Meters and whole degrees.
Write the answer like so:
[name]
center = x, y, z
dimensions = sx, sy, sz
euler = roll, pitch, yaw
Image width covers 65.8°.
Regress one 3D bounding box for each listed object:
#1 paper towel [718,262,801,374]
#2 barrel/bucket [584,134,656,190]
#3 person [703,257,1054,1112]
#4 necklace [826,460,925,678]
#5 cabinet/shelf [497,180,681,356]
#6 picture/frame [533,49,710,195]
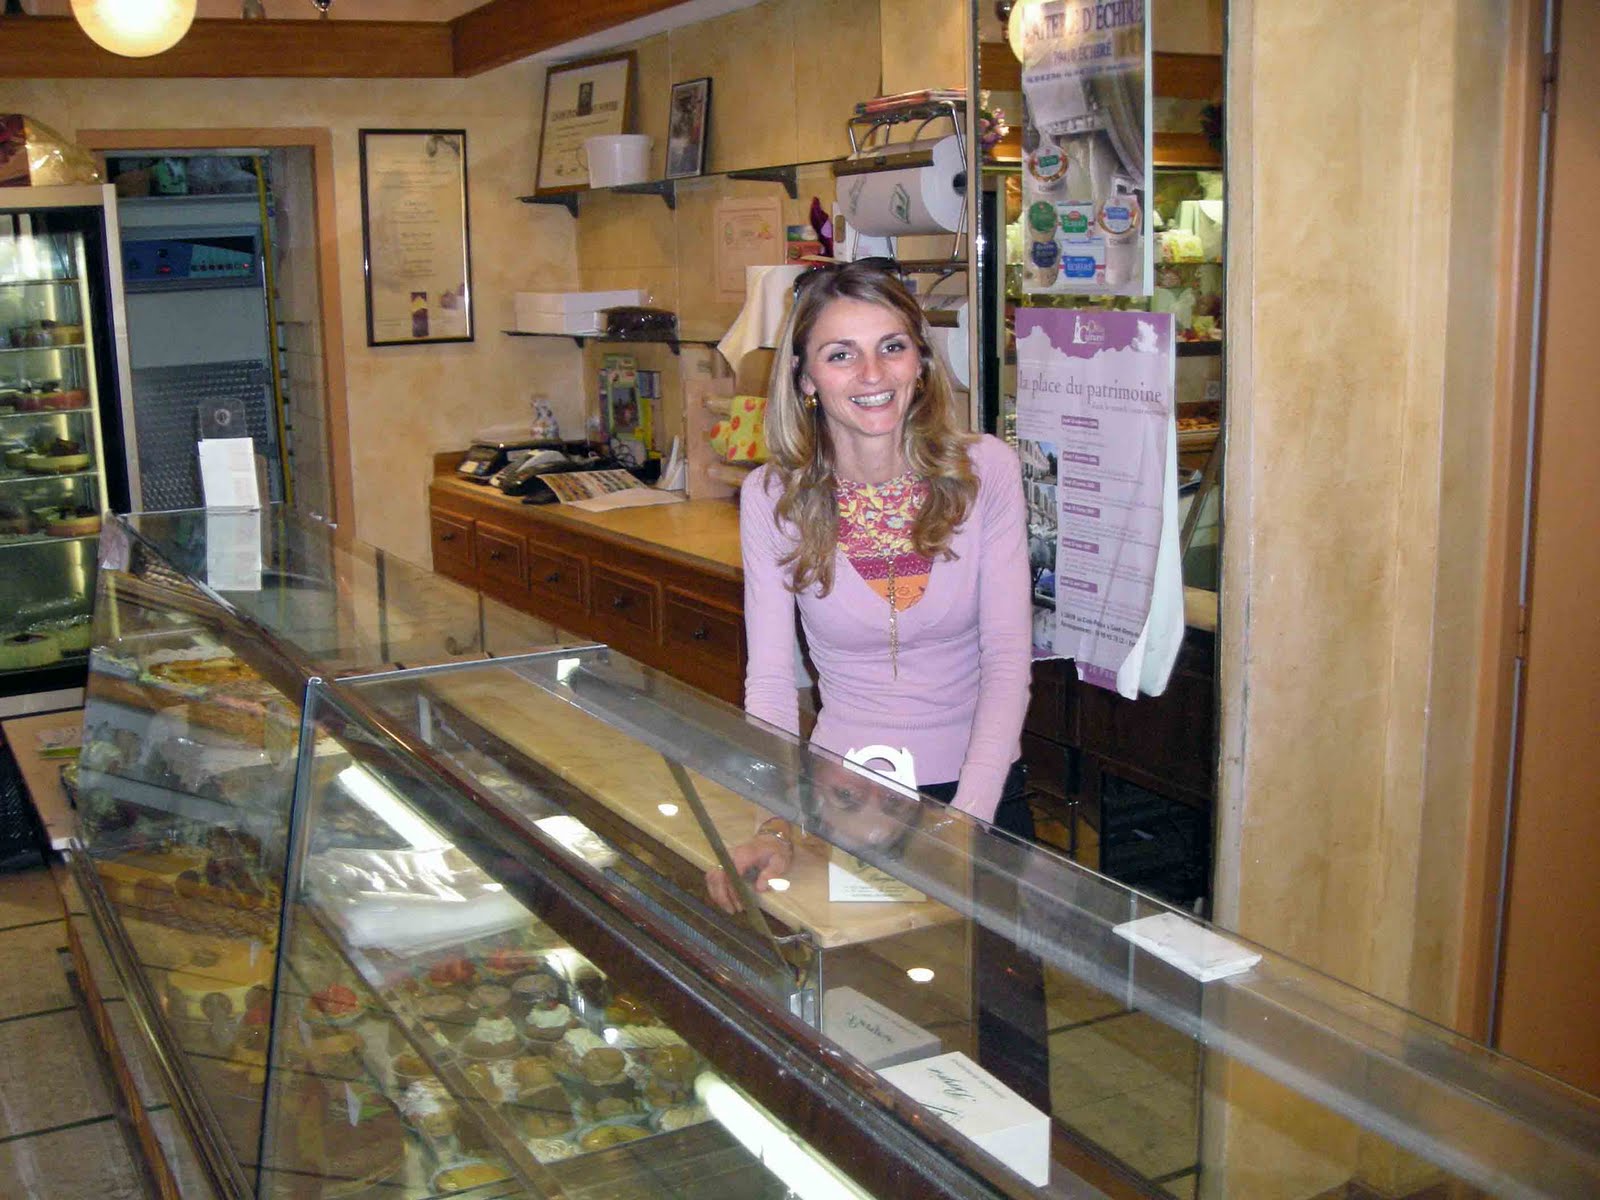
[paper towel]
center = -0.168, -0.955, 4.335
dimensions = 0.241, 0.221, 0.248
euler = 11, 20, -39
[barrel/bucket]
center = -0.803, -1.912, 5.420
dimensions = 0.297, 0.182, 0.255
euler = -8, 20, -20
[person]
center = 0.119, -0.102, 2.054
dimensions = 0.494, 0.904, 0.380
euler = 1, 14, 19
[necklace]
center = 0.140, -0.073, 2.089
dimensions = 0.151, 0.243, 0.123
euler = -3, 13, 2
[cabinet/shelf]
center = -0.955, -1.563, 5.771
dimensions = 0.483, 0.748, 1.254
euler = -11, 15, -28
[picture/frame]
center = -0.762, -2.148, 5.529
dimensions = 0.070, 0.719, 0.930
euler = 2, 7, -44
